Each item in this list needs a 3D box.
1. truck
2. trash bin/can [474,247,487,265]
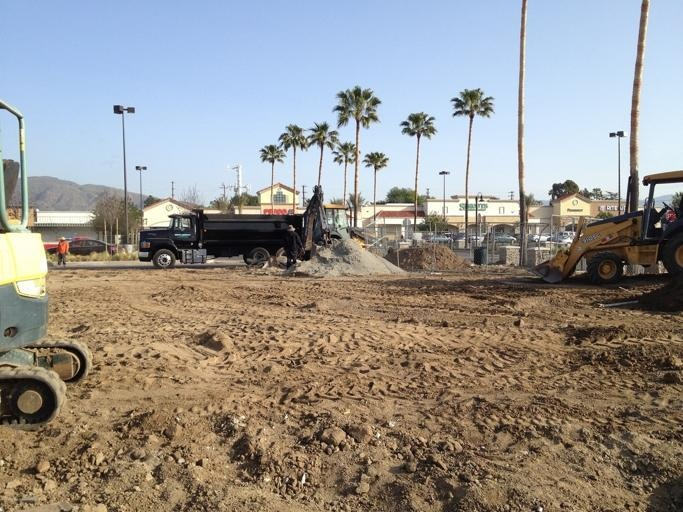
[{"bbox_3d":[-5.340,-1.003,24.493,8.171,2.979,2.747,1,-3,-8],"label":"truck"},{"bbox_3d":[6.613,-0.046,25.890,0.609,0.849,0.613,-2,12,-3],"label":"trash bin/can"}]
